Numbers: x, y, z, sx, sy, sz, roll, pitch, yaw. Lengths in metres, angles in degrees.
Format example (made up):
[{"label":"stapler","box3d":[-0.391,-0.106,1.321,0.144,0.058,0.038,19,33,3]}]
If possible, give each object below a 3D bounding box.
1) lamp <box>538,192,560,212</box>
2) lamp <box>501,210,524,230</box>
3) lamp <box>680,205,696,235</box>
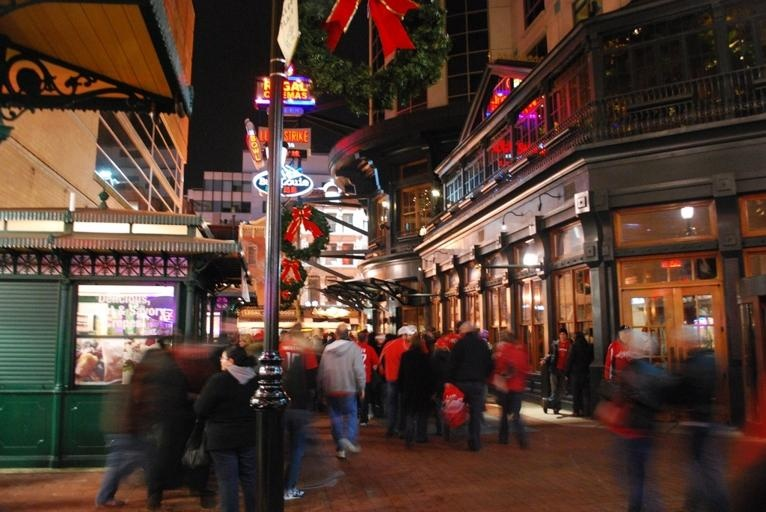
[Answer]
[{"label":"lamp","box3d":[4.800,-1.600,21.382,0.484,0.304,0.427,-2,3,-41]},{"label":"lamp","box3d":[4.119,-1.146,23.914,0.243,0.627,1.552,-2,3,-9]},{"label":"lamp","box3d":[7.596,-0.878,18.490,0.310,0.725,0.151,0,3,22]}]
